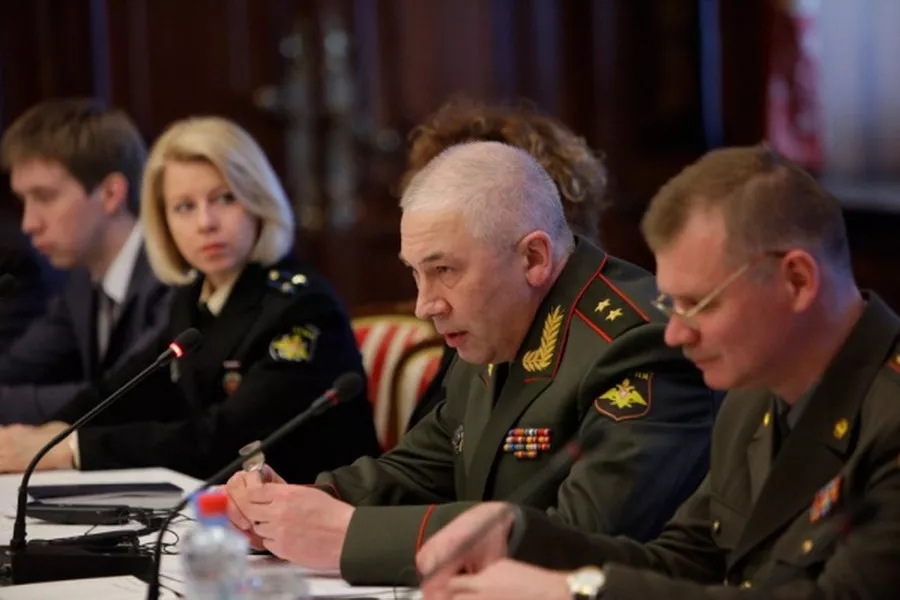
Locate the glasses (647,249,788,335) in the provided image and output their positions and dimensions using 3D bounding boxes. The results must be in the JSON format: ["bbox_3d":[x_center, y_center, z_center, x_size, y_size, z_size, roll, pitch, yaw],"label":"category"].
[{"bbox_3d":[0.561,-0.031,2.381,0.053,0.190,0.182,49,5,-1],"label":"glasses"}]

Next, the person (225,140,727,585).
[{"bbox_3d":[-0.052,0.341,3.377,1.069,1.653,1.233,2,-30,-23],"label":"person"}]

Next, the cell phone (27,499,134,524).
[{"bbox_3d":[-0.943,0.545,2.876,0.243,0.057,0.064,1,34,6],"label":"cell phone"}]
